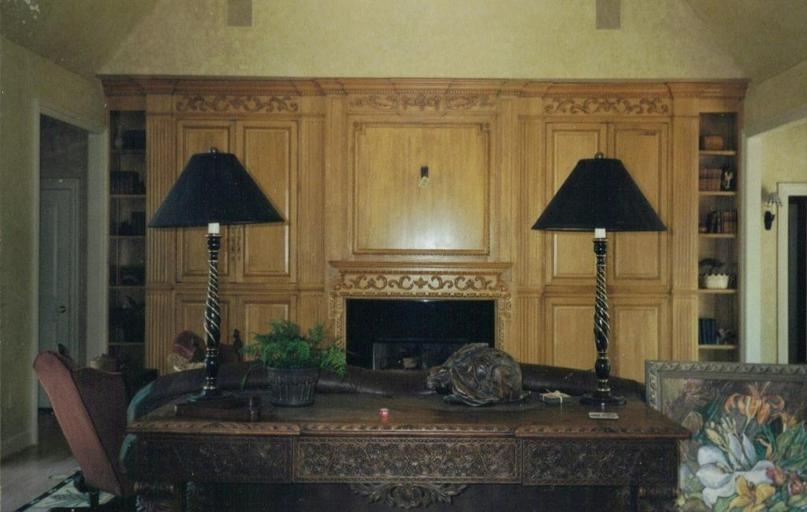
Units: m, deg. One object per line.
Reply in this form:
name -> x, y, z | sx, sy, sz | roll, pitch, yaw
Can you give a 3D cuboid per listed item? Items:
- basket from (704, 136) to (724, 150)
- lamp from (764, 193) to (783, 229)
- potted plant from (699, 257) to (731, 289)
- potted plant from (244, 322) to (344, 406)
basket -> 3.682, -1.352, 12.397 | 0.242, 0.226, 0.157 | 0, 0, 6
lamp -> 4.423, -0.548, 12.505 | 0.202, 0.464, 0.267 | -1, -2, 20
potted plant -> 3.688, 0.218, 12.420 | 0.323, 0.205, 0.354 | 0, -10, 4
potted plant -> -0.924, 1.012, 9.100 | 0.645, 0.598, 0.765 | -10, -13, 29
